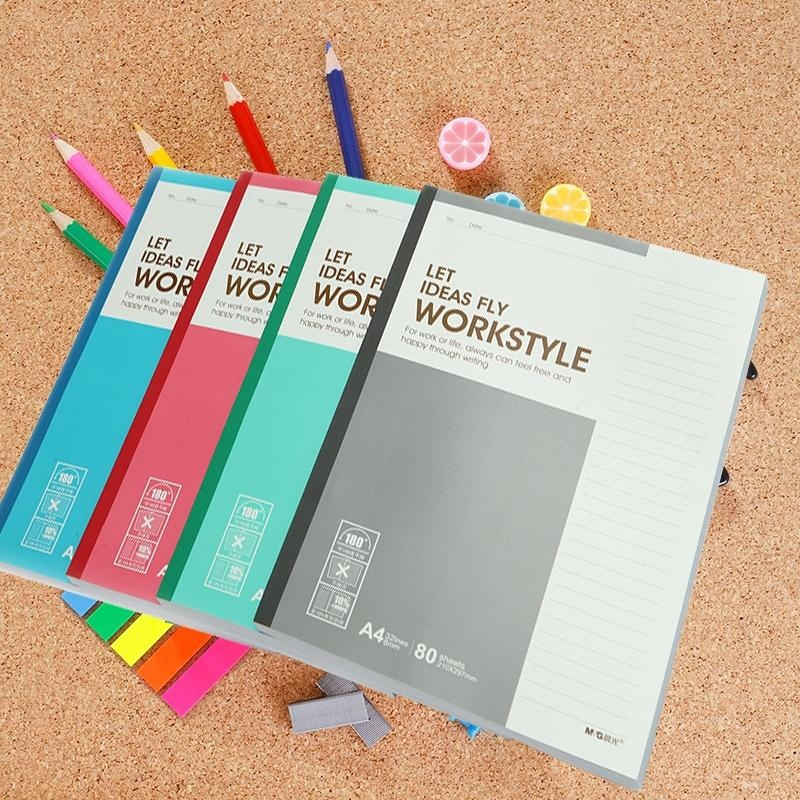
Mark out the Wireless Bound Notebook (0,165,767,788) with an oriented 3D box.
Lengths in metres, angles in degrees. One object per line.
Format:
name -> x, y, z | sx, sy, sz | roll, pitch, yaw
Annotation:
Wireless Bound Notebook -> -0.018, 0.016, 0.535 | 0.421, 0.064, 0.311 | 17, 82, 3

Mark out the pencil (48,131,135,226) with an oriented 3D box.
pencil -> -0.262, -0.185, 0.727 | 0.018, 0.018, 0.131 | -39, 87, -6

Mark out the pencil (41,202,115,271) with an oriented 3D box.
pencil -> -0.274, -0.136, 0.722 | 0.099, 0.017, 0.016 | 44, 58, 10
